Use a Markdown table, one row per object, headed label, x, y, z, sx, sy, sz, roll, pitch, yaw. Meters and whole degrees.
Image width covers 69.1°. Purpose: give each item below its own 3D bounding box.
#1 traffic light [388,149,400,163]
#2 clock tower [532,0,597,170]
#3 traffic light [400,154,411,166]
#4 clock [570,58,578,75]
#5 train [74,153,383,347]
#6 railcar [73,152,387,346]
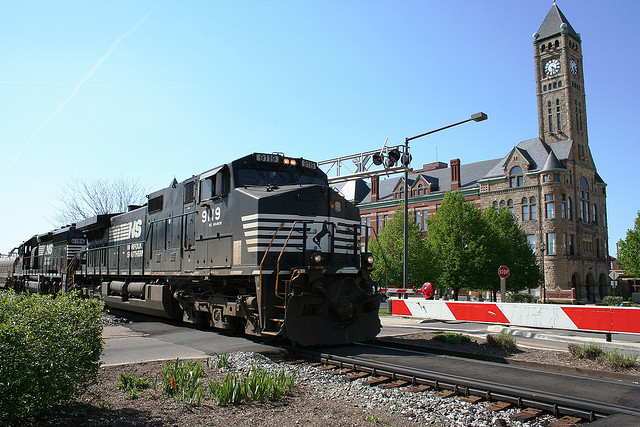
| label | x | y | z | sx | sy | sz | roll | pitch | yaw |
| --- | --- | --- | --- | --- | --- | --- | --- | --- | --- |
| traffic light | 3.711 | -2.854 | 23.220 | 0.296 | 0.670 | 0.763 | -2 | -4 | 43 |
| clock tower | 29.060 | -16.007 | 56.588 | 7.042 | 21.138 | 5.670 | 2 | -3 | -30 |
| traffic light | 3.932 | -2.429 | 21.323 | 0.406 | 0.513 | 0.584 | -1 | -3 | 16 |
| clock | 31.080 | -18.027 | 57.074 | 0.222 | 2.247 | 2.169 | 4 | 14 | 44 |
| train | -5.464 | 1.602 | 20.263 | 4.971 | 5.765 | 18.779 | 3 | -6 | -33 |
| railcar | -5.442 | 1.692 | 19.812 | 5.443 | 5.679 | 18.368 | 3 | -7 | -34 |
